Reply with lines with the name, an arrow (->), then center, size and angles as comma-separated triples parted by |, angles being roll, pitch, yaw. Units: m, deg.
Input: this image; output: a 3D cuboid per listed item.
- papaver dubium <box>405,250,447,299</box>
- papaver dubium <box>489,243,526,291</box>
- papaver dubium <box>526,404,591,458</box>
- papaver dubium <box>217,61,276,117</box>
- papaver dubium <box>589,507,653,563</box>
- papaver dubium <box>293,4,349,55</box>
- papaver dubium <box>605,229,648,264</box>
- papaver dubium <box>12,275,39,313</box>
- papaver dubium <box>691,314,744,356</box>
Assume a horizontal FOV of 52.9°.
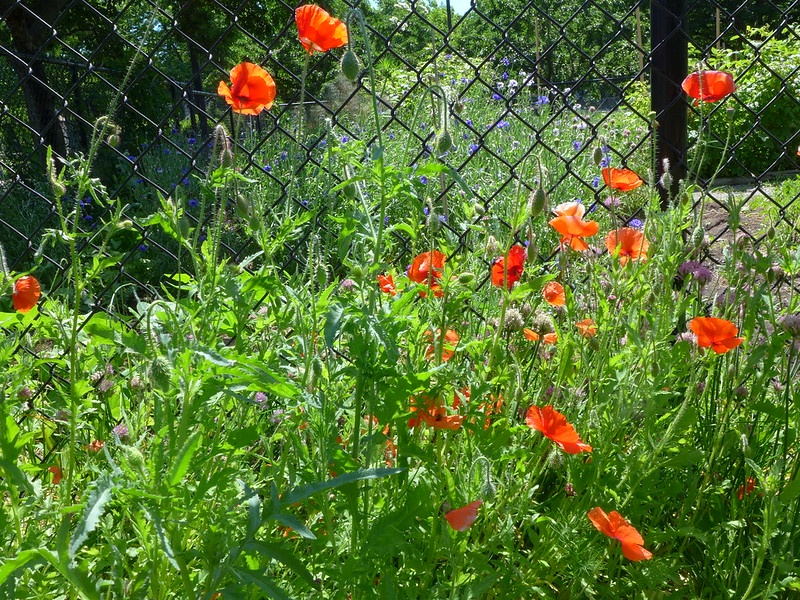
papaver dubium -> 0.069, -0.067, 2.002 | 0.082, 0.125, 0.043 | 20, 7, 0
papaver dubium -> 0.280, -0.095, 2.103 | 0.100, 0.106, 0.058 | -32, 4, 7
papaver dubium -> 0.375, 0.305, 1.905 | 0.143, 0.115, 0.104 | 2, -2, -28
papaver dubium -> -0.387, -0.514, 2.024 | 0.134, 0.158, 0.205 | 1, -2, -16
papaver dubium -> 0.517, 0.539, 1.867 | 0.099, 0.056, 0.153 | 47, -5, 6
papaver dubium -> -0.192, -0.653, 1.945 | 0.122, 0.143, 0.188 | 1, -2, -8
papaver dubium -> 0.652, -0.151, 2.280 | 0.111, 0.129, 0.061 | -3, -8, -5
papaver dubium -> -0.915, -0.013, 1.968 | 0.058, 0.091, 0.119 | 1, -2, -26
papaver dubium -> 0.791, 0.089, 2.000 | 0.118, 0.090, 0.136 | -1, -3, 35
